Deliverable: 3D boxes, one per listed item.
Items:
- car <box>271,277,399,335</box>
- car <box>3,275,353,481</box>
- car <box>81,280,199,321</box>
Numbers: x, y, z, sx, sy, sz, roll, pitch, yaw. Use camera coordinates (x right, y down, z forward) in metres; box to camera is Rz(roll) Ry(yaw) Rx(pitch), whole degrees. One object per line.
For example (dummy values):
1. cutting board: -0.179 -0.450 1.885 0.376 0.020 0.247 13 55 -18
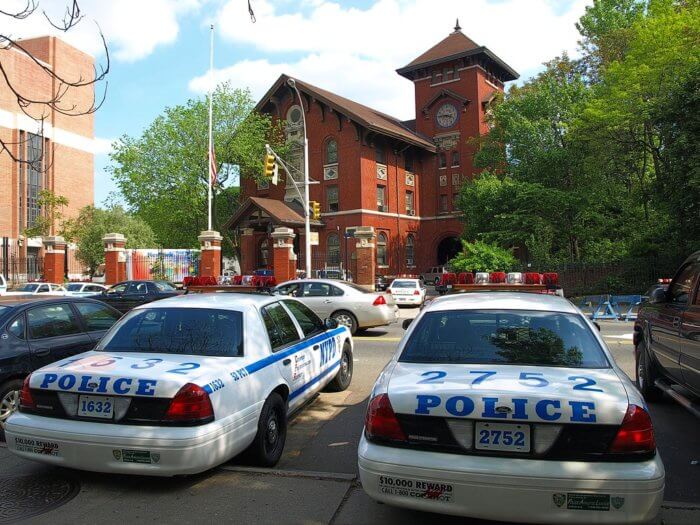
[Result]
1. car: -0.359 1.161 17.057 3.200 0.990 1.341 3 -3 6
2. car: -1.746 1.393 7.739 1.955 1.890 3.557 1 5 31
3. car: -4.882 0.826 14.875 2.919 0.891 1.207 1 -2 5
